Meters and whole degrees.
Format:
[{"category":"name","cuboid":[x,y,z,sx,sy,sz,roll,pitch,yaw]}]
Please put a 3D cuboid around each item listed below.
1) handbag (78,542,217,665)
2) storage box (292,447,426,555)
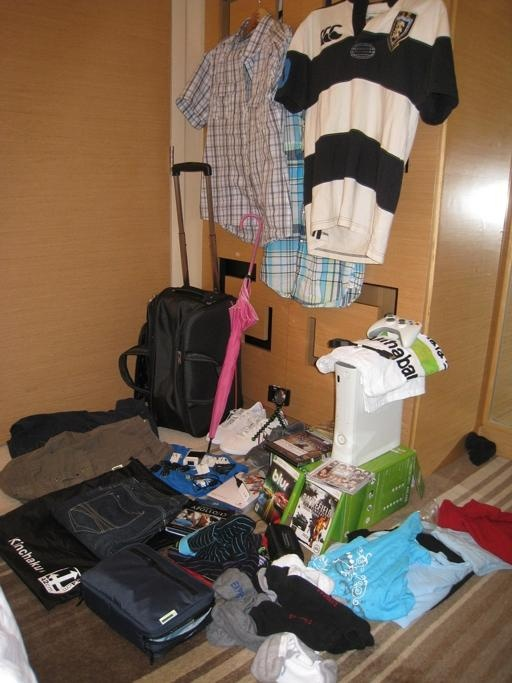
[{"category":"handbag","cuboid":[-0.283,0.668,1.336,0.311,0.112,0.225,16,17,37]},{"category":"storage box","cuboid":[0.339,0.517,1.768,0.401,0.185,0.263,-20,25,-35]}]
